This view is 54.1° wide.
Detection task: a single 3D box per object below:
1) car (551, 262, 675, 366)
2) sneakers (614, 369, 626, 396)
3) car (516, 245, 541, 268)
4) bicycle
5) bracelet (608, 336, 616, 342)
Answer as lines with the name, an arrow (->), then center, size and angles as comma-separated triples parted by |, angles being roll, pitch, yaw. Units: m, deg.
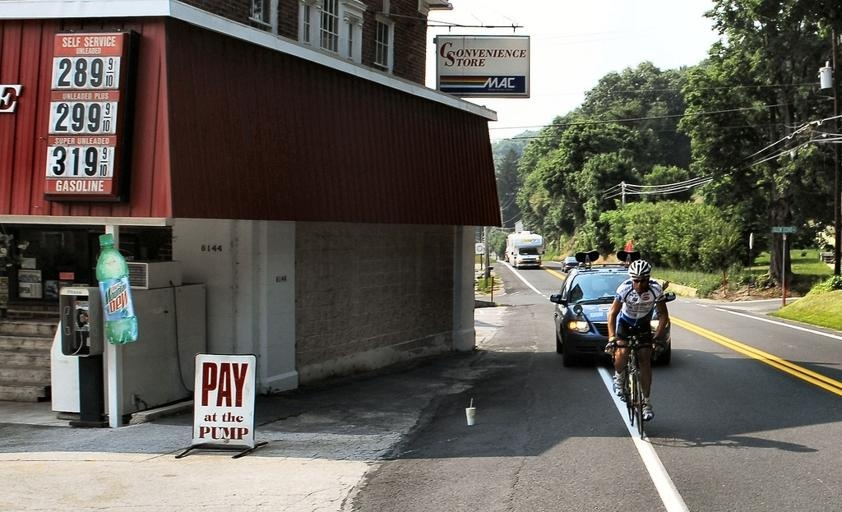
car -> 4.399, 1.406, 19.160 | 2.532, 1.754, 4.785 | -1, -5, 8
sneakers -> 3.771, 2.394, 15.644 | 0.198, 0.544, 0.246 | -2, 0, 17
car -> 10.436, 0.126, 79.092 | 2.318, 2.100, 1.810 | 0, 6, 0
bicycle -> 3.994, 2.359, 15.279 | 0.558, 1.701, 1.087 | -2, 7, -10
bracelet -> 3.623, 1.561, 15.536 | 0.103, 0.089, 0.100 | 2, 5, 13
